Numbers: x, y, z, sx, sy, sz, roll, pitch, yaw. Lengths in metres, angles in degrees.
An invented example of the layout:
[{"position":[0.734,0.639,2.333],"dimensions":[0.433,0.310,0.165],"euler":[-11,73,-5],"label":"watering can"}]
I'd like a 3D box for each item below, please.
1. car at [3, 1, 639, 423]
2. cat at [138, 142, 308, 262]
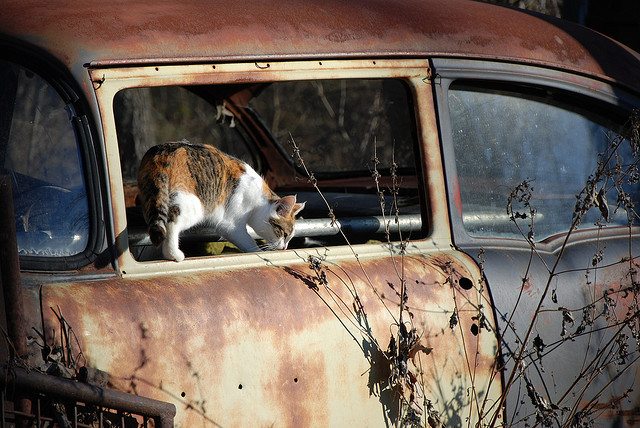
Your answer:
[{"position":[0.114,0.046,5.858],"dimensions":[3.480,2.041,2.005],"euler":[-4,6,-32],"label":"car"},{"position":[-0.575,-0.070,5.826],"dimensions":[0.422,0.708,1.088],"euler":[-9,-9,37],"label":"cat"}]
